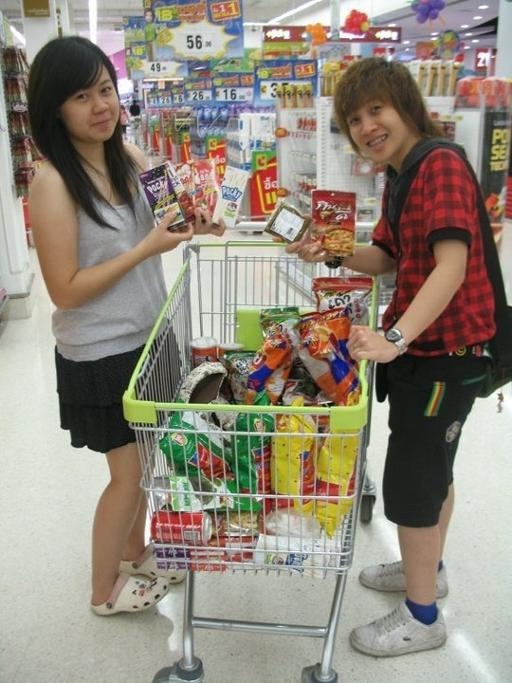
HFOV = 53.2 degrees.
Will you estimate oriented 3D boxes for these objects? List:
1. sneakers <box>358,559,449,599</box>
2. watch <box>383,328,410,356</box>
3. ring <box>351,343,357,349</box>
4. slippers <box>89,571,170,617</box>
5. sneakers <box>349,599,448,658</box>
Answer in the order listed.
[{"bbox_3d":[0.496,0.783,1.797,0.339,0.139,0.116,2,15,11],"label":"sneakers"},{"bbox_3d":[0.260,-0.003,0.945,0.034,0.051,0.051,-42,49,-20],"label":"watch"},{"bbox_3d":[0.183,0.009,0.962,0.003,0.010,0.010,-16,19,-40],"label":"ring"},{"bbox_3d":[-0.403,0.816,1.643,0.217,0.096,0.126,-9,32,-2],"label":"slippers"},{"bbox_3d":[0.390,0.823,1.529,0.335,0.153,0.117,-4,27,3],"label":"sneakers"}]
